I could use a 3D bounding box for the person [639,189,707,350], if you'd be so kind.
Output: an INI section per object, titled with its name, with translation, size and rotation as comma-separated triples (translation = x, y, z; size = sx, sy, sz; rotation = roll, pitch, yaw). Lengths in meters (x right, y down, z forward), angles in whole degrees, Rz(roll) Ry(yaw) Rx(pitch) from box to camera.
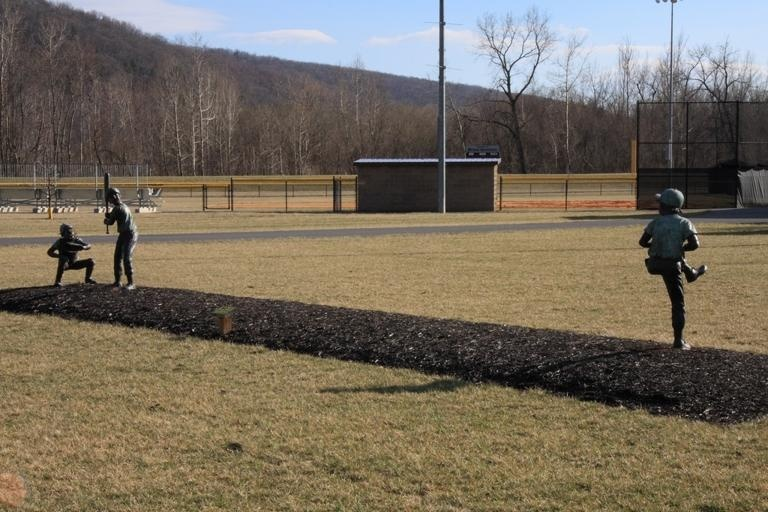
[person]
translation = 6.535, 0.271, 24.130
size = 1.304, 3.577, 0.980
rotation = 2, 5, 17
